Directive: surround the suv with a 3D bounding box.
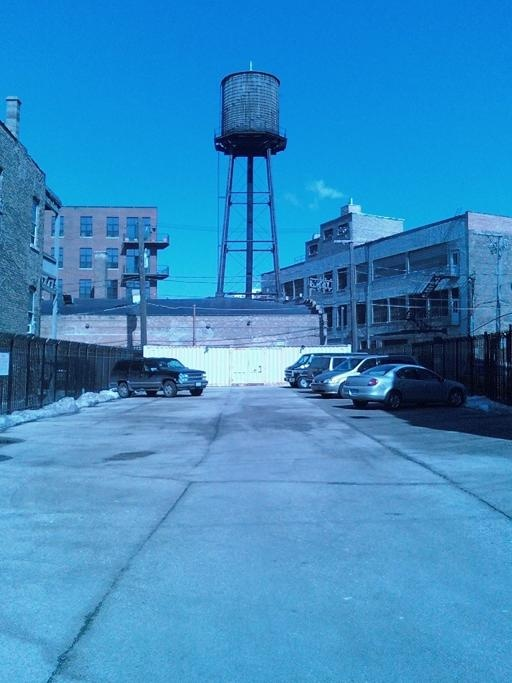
[{"bbox_3d":[-4.325,1.543,28.091,3.474,1.394,1.905,-3,-2,27],"label":"suv"}]

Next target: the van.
[{"bbox_3d":[4.633,1.310,19.913,3.534,1.072,1.987,-2,2,-23],"label":"van"}]
